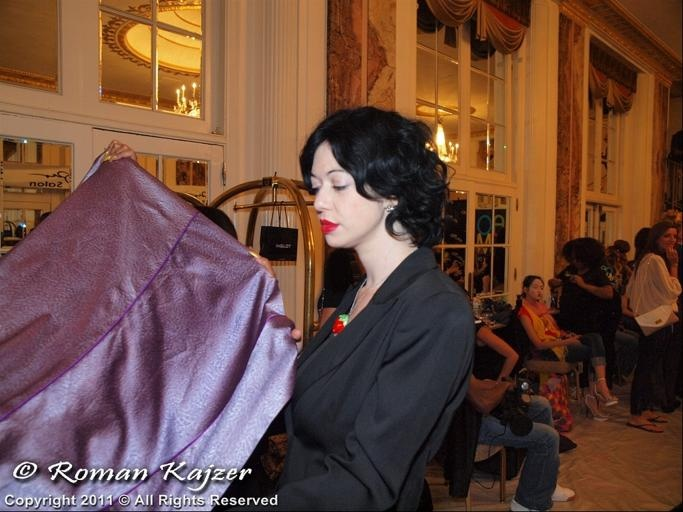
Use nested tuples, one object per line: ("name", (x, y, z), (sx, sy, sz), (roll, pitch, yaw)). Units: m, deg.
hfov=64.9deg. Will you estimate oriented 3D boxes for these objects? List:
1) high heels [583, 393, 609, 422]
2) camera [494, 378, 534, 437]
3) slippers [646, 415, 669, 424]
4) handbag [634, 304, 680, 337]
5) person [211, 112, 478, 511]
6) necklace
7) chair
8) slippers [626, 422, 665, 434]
("high heels", (2.322, 1.398, 4.896), (0.117, 0.145, 0.347), (-5, 19, -7))
("camera", (1.028, 0.924, 3.217), (0.247, 0.295, 0.129), (2, 4, 10))
("slippers", (2.801, 1.449, 4.757), (0.138, 0.033, 0.072), (-6, 1, 21))
("handbag", (2.768, 0.557, 4.677), (0.336, 0.281, 0.178), (2, 4, 13))
("person", (0.059, 0.151, 1.882), (0.752, 1.371, 0.543), (0, 4, -12))
("necklace", (0.043, 0.193, 2.038), (0.066, 0.220, 0.026), (32, -11, 32))
("chair", (1.905, 0.733, 4.703), (0.550, 1.200, 0.442), (-17, -6, 28))
("slippers", (2.618, 1.478, 4.629), (0.195, 0.046, 0.096), (-5, -3, 31))
